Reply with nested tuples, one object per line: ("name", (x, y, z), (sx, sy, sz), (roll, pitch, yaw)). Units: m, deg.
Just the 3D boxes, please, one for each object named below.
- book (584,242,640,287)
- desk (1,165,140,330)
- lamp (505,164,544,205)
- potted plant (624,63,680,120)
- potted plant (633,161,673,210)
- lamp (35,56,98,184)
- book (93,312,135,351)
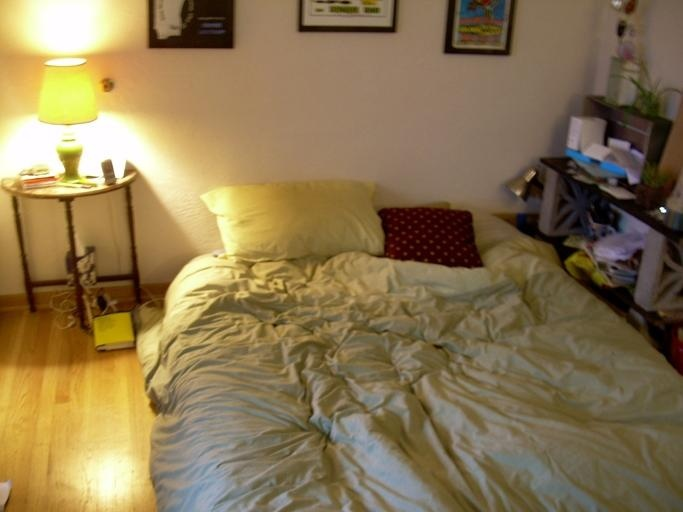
("book", (1.554, 0.055, 2.923), (0.159, 0.099, 0.204), (-1, 23, 4))
("desk", (-1.596, -0.057, 3.143), (0.788, 0.914, 0.470), (-9, 24, -21))
("lamp", (1.290, -0.515, 3.639), (0.189, 0.202, 0.173), (44, 12, 34))
("potted plant", (1.762, -0.942, 2.935), (0.297, 0.131, 0.298), (1, 32, -15))
("potted plant", (1.639, -0.355, 2.672), (0.166, 0.211, 0.224), (-2, 22, -5))
("lamp", (-1.576, -0.793, 2.919), (0.341, 0.689, 0.346), (-24, 50, -38))
("book", (-1.344, 0.452, 3.027), (0.215, 0.141, 0.224), (-10, 24, -23))
